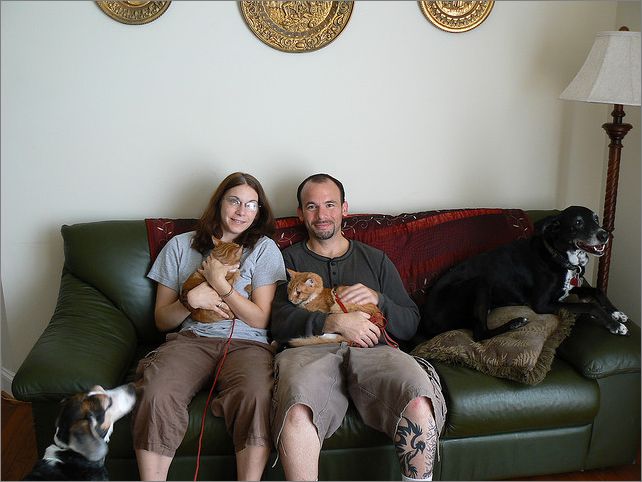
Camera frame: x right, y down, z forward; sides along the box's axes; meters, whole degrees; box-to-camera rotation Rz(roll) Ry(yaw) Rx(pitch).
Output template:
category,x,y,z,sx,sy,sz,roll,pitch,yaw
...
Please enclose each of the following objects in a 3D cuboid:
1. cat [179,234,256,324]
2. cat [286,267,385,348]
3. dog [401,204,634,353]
category,x,y,z,sx,sy,sz,roll,pitch,yaw
cat,-0.484,0.209,2.465,0.240,0.407,0.229,28,-7,21
cat,0.060,0.305,2.383,0.427,0.276,0.286,4,17,-8
dog,1.025,0.162,2.554,0.967,0.677,0.518,-6,10,18
